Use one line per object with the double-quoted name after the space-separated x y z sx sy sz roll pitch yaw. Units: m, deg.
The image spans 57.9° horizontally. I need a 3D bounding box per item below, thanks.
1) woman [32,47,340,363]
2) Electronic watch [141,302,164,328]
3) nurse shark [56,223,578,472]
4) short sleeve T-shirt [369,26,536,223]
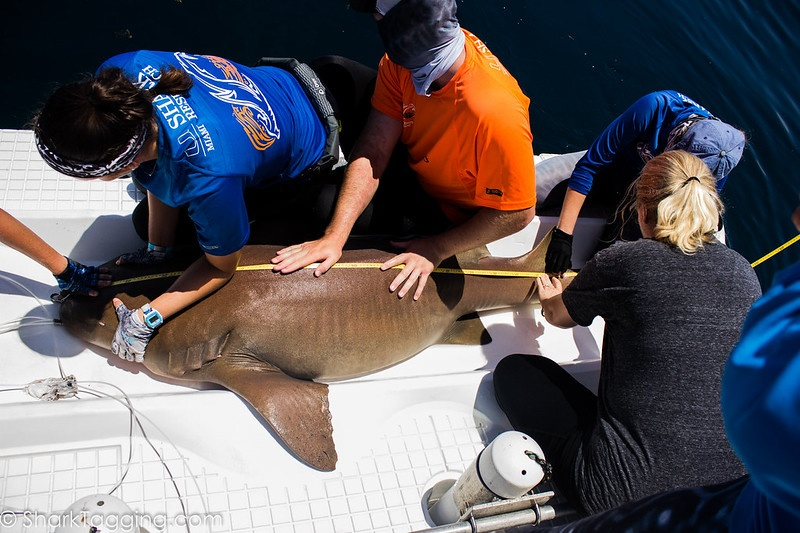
-1.501 -0.554 5.525 1.999 1.941 1.242 -28 67 -33 "woman"
-1.839 0.358 5.393 0.085 0.131 0.131 -35 44 -9 "Electronic watch"
-0.582 0.489 5.777 2.909 0.607 1.650 -4 57 -19 "nurse shark"
0.361 -1.043 5.699 0.809 1.284 1.560 -35 74 -10 "short sleeve T-shirt"
